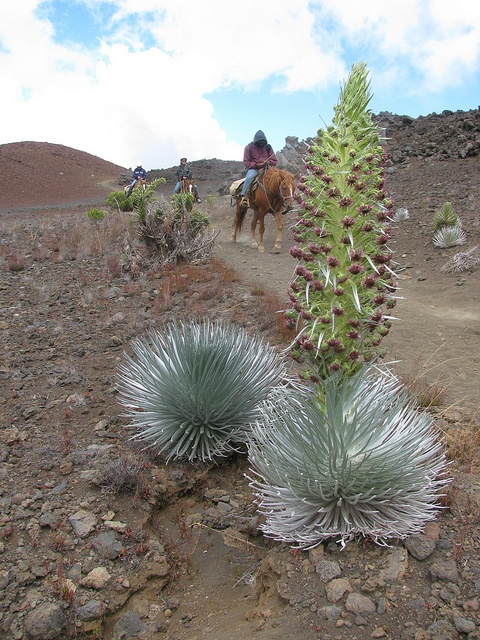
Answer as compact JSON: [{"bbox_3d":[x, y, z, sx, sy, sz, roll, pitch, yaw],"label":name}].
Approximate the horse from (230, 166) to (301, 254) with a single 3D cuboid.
[{"bbox_3d":[0.469,-2.622,11.392,0.861,1.857,2.869,-2,15,-23],"label":"horse"}]
